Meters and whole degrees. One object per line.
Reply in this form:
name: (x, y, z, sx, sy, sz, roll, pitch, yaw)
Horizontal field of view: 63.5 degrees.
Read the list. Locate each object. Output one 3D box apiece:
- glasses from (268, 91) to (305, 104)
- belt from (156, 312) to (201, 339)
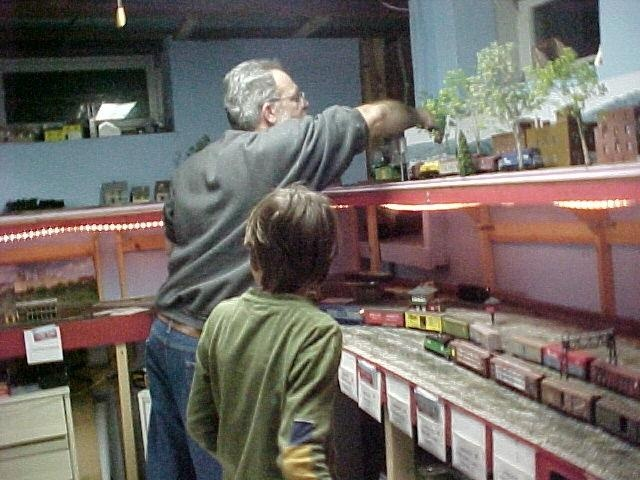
glasses: (-0.133, -0.587, 2.148, 0.099, 0.032, 0.076, -5, 11, -24)
belt: (-0.552, 0.333, 2.013, 0.098, 0.028, 0.107, 23, -3, 5)
